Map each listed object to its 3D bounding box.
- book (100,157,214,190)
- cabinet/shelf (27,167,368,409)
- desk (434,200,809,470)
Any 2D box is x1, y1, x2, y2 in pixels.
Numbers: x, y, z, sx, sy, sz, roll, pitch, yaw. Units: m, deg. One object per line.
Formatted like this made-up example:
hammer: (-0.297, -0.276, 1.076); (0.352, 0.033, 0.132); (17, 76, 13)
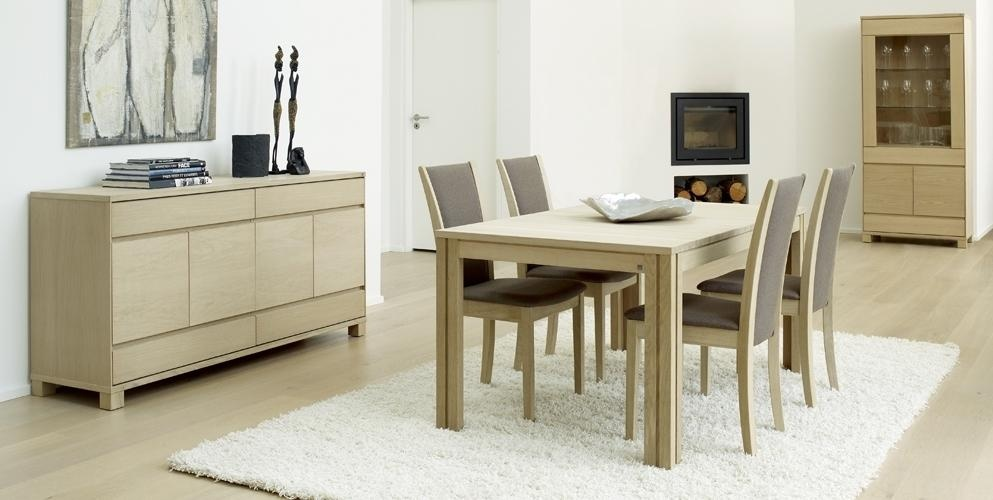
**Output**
book: (-2.534, -0.576, 5.015); (0.711, 0.202, 0.325); (-7, 14, -28)
cabinet/shelf: (-2.348, 0.305, 5.057); (0.608, 0.927, 2.005); (1, 3, 31)
desk: (0.678, 0.507, 4.741); (2.006, 1.414, 1.312); (4, 14, 19)
